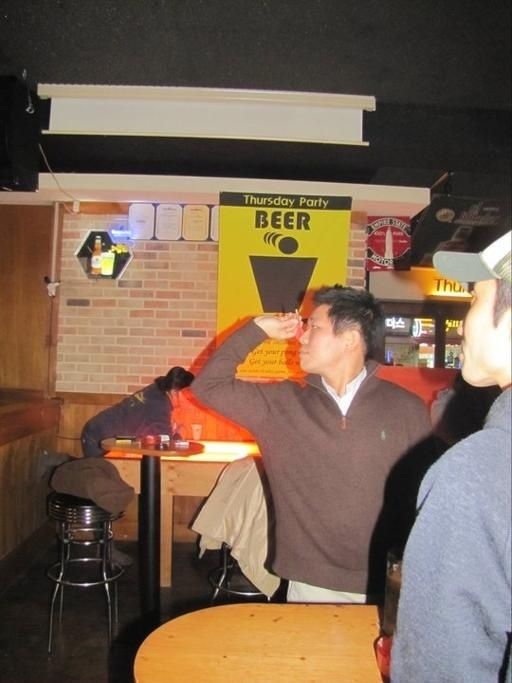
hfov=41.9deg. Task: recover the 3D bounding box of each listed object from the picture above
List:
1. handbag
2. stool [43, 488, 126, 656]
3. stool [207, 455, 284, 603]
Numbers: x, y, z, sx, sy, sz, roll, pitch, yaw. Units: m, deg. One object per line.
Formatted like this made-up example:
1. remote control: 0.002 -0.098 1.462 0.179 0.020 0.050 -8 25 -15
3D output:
1. handbag: -0.794 0.698 3.303 0.457 0.198 0.269 17 -2 24
2. stool: -0.845 1.071 3.277 0.436 0.618 0.418 4 -4 -33
3. stool: 0.068 0.927 3.403 0.399 0.604 0.660 -10 -3 -16
